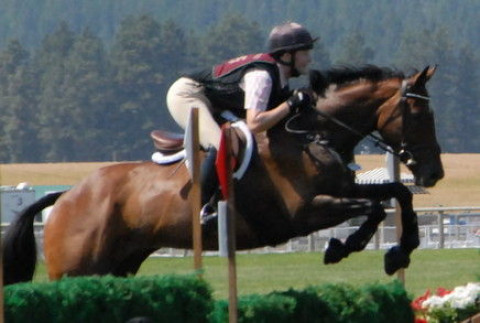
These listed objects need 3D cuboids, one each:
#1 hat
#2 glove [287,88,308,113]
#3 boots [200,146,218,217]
[{"bbox_3d":[0.859,-1.963,17.702,0.652,0.322,0.562,-9,2,12],"label":"hat"},{"bbox_3d":[0.950,-0.984,17.531,0.372,0.360,0.151,0,-3,1],"label":"glove"},{"bbox_3d":[-0.593,0.335,17.650,0.286,1.078,0.345,11,-3,-22],"label":"boots"}]
